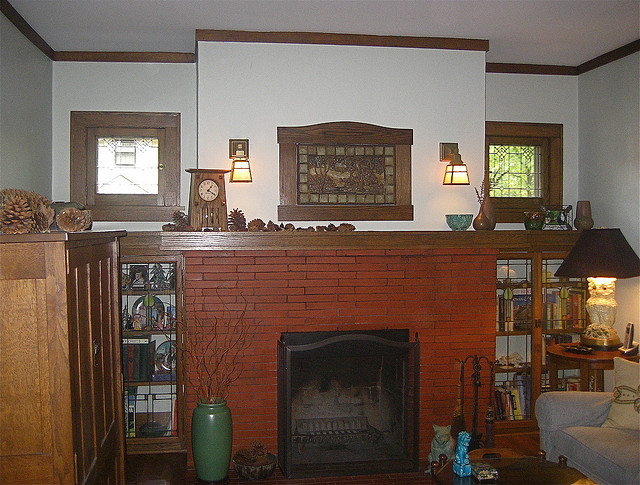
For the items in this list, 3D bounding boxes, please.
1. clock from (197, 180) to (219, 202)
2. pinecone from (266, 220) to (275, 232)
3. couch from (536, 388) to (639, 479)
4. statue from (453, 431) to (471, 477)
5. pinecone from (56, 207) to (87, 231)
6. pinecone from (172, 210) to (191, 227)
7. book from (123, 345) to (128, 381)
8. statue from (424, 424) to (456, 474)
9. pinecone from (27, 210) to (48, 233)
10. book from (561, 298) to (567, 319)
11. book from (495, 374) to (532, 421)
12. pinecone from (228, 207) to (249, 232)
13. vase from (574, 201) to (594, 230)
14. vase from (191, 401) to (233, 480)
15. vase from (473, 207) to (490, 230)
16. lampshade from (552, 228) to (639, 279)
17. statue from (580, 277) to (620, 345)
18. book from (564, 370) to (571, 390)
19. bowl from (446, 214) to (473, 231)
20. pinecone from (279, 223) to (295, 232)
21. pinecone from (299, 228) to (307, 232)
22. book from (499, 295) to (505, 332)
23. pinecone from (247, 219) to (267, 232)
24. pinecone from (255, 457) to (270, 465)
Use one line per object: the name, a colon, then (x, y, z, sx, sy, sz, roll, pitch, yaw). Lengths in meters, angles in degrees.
clock: (-0.835, -0.384, 4.591, 0.145, 0.148, 0.016, 2, 2, -7)
pinecone: (-0.373, -0.124, 4.679, 0.045, 0.087, 0.020, -2, -5, -10)
couch: (1.903, 1.258, 4.188, 0.477, 0.530, 0.783, -1, 1, -18)
statue: (0.891, 1.305, 3.911, 0.107, 0.261, 0.201, 0, 1, 11)
pinecone: (-1.384, -0.127, 3.462, 0.127, 0.134, 0.042, 8, -6, -27)
pinecone: (-1.052, -0.184, 4.701, 0.107, 0.069, 0.116, 2, 21, -19)
book: (-1.543, 0.953, 4.939, 0.030, 0.281, 0.018, 0, 1, -13)
statue: (0.873, 1.458, 4.578, 0.238, 0.366, 0.228, 5, 3, 5)
pinecone: (-1.491, -0.108, 3.305, 0.101, 0.157, 0.093, -1, 4, -31)
book: (2.121, 0.572, 5.408, 0.057, 0.179, 0.013, 0, 1, -8)
book: (1.639, 1.310, 5.435, 0.318, 0.446, 0.439, -1, 2, 7)
pinecone: (-0.614, -0.158, 4.644, 0.140, 0.202, 0.138, -2, 2, -20)
vase: (2.210, -0.228, 5.216, 0.141, 0.235, 0.139, 0, 1, 22)
vase: (-0.784, 1.431, 4.494, 0.288, 0.542, 0.130, 0, 1, -12)
vase: (1.261, -0.168, 4.844, 0.119, 0.180, 0.118, -6, 8, -36)
lampshade: (2.163, 0.080, 4.853, 0.598, 0.374, 0.237, 0, 1, 16)
statue: (2.222, 0.566, 4.906, 0.229, 0.580, 0.262, 8, 4, -26)
book: (2.180, 1.202, 5.475, 0.048, 0.152, 0.115, 0, 1, 20)
bowl: (1.070, -0.159, 4.823, 0.131, 0.089, 0.135, 2, 4, 0)
pinecone: (-0.247, -0.107, 4.671, 0.114, 0.063, 0.038, -5, -27, 15)
pinecone: (-0.127, -0.095, 4.694, 0.056, 0.030, 0.135, 0, 1, -2)
book: (1.547, 0.596, 5.289, 0.041, 0.299, 0.031, 0, 1, 17)
pinecone: (-0.474, -0.124, 4.628, 0.095, 0.101, 0.025, 7, -9, -14)
pinecone: (-0.414, 1.583, 4.525, 0.113, 0.046, 0.054, -1, 1, -29)
